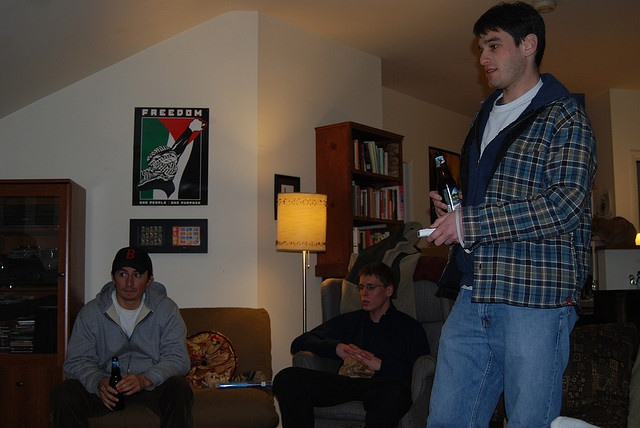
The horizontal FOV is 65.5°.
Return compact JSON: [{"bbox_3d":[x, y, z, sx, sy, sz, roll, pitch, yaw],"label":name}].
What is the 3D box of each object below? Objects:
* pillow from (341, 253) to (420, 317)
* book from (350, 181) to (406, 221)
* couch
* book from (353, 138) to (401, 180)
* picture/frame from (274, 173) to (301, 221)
[{"bbox_3d":[0.591,0.566,3.830,0.486,0.502,0.152,6,-4,25],"label":"pillow"},{"bbox_3d":[0.588,-0.132,5.050,0.368,0.247,0.151,8,-12,-37],"label":"book"},{"bbox_3d":[-0.724,0.992,3.676,0.914,0.647,0.897,0,-13,1],"label":"couch"},{"bbox_3d":[0.581,-0.555,5.075,0.392,0.372,0.125,6,-11,-41],"label":"book"},{"bbox_3d":[-0.293,-0.143,4.340,0.381,0.541,0.040,7,-11,-43],"label":"picture/frame"}]
